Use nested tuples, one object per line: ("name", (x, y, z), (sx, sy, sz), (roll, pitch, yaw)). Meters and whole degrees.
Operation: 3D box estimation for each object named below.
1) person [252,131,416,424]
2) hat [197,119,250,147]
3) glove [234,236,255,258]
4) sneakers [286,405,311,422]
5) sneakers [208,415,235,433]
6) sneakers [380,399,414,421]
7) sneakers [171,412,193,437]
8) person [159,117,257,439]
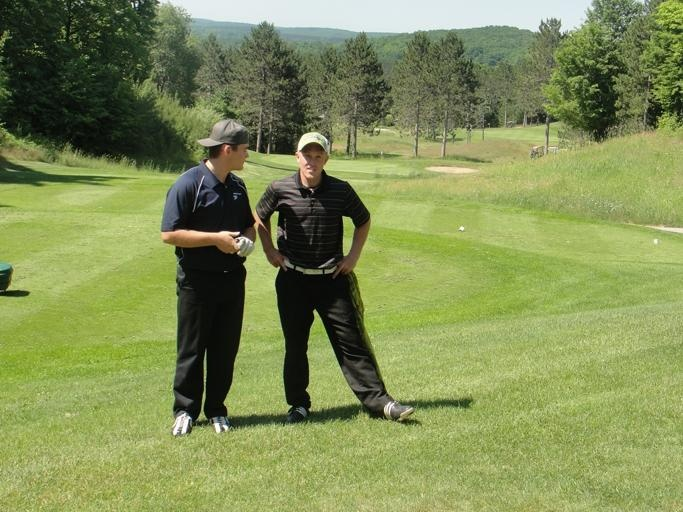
("person", (-0.140, 0.149, 5.316), (1.216, 2.360, 0.759), (-2, 7, 4))
("hat", (-0.963, -0.999, 5.063), (0.377, 0.150, 0.233), (-2, 16, -12))
("glove", (-0.758, -0.082, 4.906), (0.127, 0.141, 0.157), (5, -11, -10))
("sneakers", (-0.364, 1.302, 5.192), (0.079, 0.087, 0.212), (11, -8, 18))
("sneakers", (-0.949, 1.342, 5.005), (0.170, 0.086, 0.368), (-4, 7, -16))
("sneakers", (0.460, 1.244, 5.083), (0.286, 0.131, 0.108), (-11, -2, 44))
("sneakers", (-1.250, 1.316, 4.947), (0.157, 0.127, 0.317), (-4, 7, -14))
("person", (-1.046, 0.142, 5.077), (0.750, 2.454, 0.596), (-4, 7, -11))
